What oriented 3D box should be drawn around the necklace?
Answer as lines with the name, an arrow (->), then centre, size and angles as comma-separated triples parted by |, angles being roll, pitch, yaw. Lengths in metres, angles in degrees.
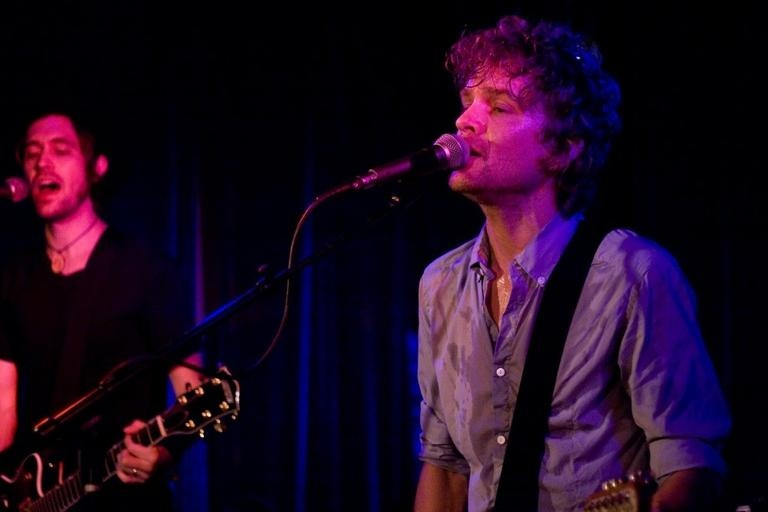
necklace -> -1.859, -0.062, 4.858 | 0.326, 0.248, 0.199 | -48, -34, 8

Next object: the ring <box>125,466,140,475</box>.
ring -> -1.312, 1.116, 4.263 | 0.048, 0.050, 0.015 | -34, 7, 24

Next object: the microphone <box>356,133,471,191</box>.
microphone -> 0.203, -0.431, 3.684 | 0.668, 0.198, 0.197 | -20, 7, -28
